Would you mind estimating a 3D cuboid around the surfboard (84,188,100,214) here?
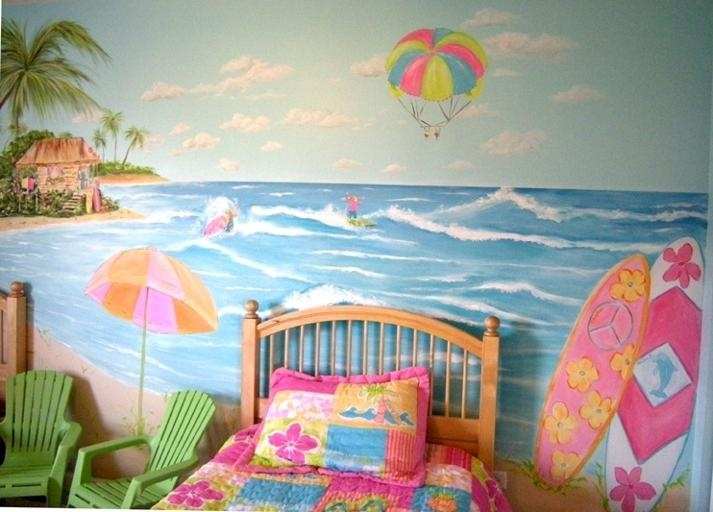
[{"bbox_3d":[-1.802,-0.376,3.499,0.118,0.190,0.019,6,-1,14],"label":"surfboard"}]
